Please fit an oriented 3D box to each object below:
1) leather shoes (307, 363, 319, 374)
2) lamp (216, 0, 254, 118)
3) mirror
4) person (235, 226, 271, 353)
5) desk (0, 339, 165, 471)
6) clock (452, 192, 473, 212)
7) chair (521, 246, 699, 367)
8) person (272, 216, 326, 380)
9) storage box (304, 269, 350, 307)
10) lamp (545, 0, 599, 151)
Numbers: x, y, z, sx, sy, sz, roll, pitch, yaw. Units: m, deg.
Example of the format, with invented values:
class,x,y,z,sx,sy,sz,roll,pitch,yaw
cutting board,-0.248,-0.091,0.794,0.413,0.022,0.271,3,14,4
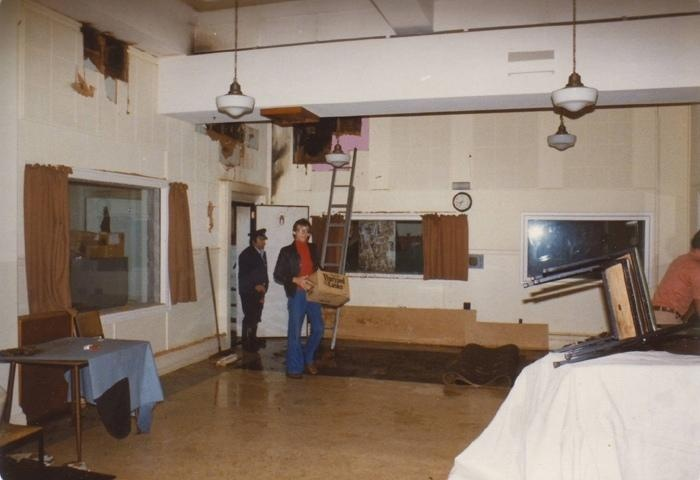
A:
class,x,y,z,sx,sy,sz,roll,pitch,yaw
leather shoes,-0.497,1.749,8.132,0.069,0.096,0.228,1,-17,-18
lamp,-1.372,-2.163,7.228,0.398,1.414,1.482,-1,11,-9
mirror,3.668,0.175,9.443,1.931,1.197,0.070,-3,10,12
person,-1.493,0.767,9.356,0.467,1.784,0.832,-1,11,-8
desk,-2.657,1.639,6.030,1.248,0.986,1.245,0,-1,15
clock,1.798,-0.595,9.749,0.292,0.302,0.070,-1,3,15
chair,1.999,0.551,4.930,1.105,0.801,0.871,-10,-6,6
person,-0.687,0.786,8.013,0.609,2.040,0.649,-1,11,-8
storage box,-0.265,0.650,7.878,0.481,0.401,0.732,-14,-24,22
lamp,2.803,-1.962,7.674,0.498,1.802,3.499,4,11,17
